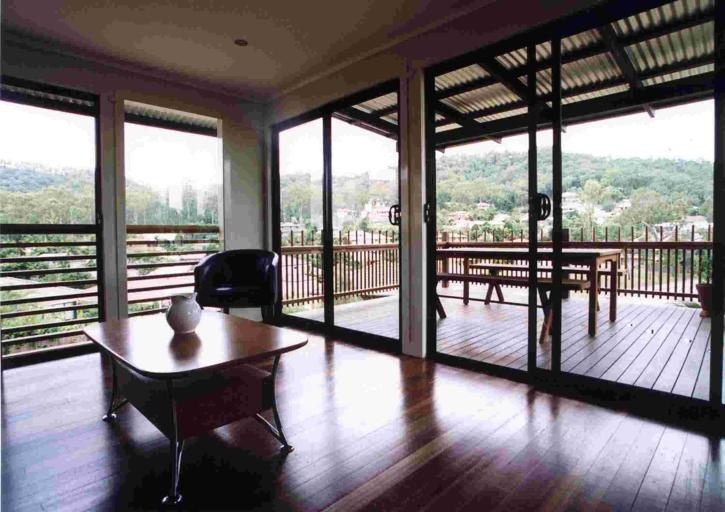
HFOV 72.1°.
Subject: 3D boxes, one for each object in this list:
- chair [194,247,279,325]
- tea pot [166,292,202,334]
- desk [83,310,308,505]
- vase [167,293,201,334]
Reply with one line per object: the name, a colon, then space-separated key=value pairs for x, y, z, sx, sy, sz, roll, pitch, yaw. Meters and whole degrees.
chair: x=-1.211 y=0.320 z=5.189 sx=0.825 sy=0.907 sz=0.768 roll=-1 pitch=-7 yaw=6
tea pot: x=-1.310 y=0.427 z=3.681 sx=0.296 sy=0.287 sz=0.224 roll=-2 pitch=4 yaw=-23
desk: x=-1.180 y=0.637 z=3.530 sx=1.078 sy=0.711 sz=1.671 roll=0 pitch=2 yaw=-40
vase: x=-1.316 y=0.428 z=3.794 sx=0.292 sy=0.285 sz=0.222 roll=-2 pitch=5 yaw=-26
